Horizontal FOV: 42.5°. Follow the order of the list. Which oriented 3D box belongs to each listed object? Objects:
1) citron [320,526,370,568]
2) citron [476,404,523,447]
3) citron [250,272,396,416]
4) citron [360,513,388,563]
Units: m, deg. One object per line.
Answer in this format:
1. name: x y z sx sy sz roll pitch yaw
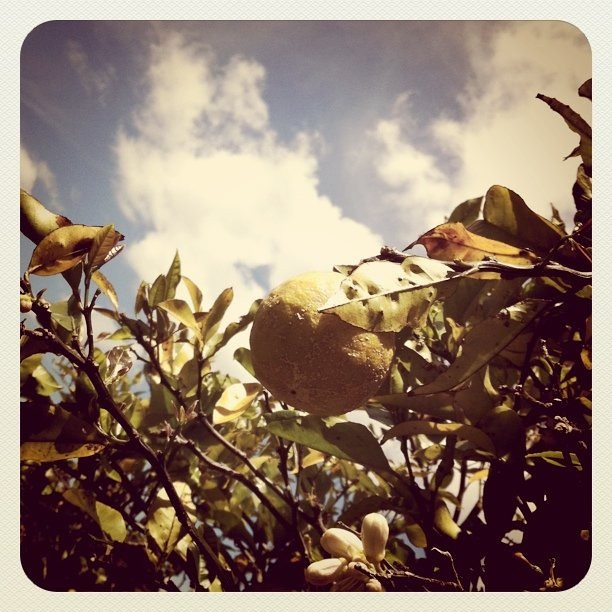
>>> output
1. citron: 0.052 0.339 1.116 0.062 0.030 0.037 25 5 15
2. citron: 0.282 0.180 1.150 0.060 0.072 0.061 7 -10 -25
3. citron: 0.012 0.065 1.174 0.193 0.220 0.193 18 -37 -2
4. citron: 0.097 0.337 1.136 0.037 0.067 0.086 -5 -38 2
